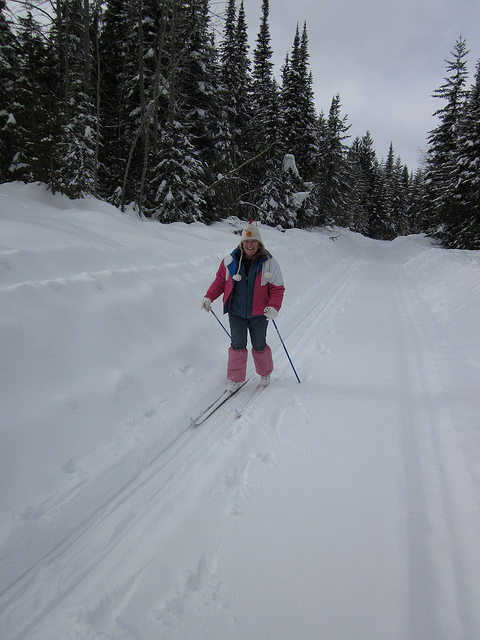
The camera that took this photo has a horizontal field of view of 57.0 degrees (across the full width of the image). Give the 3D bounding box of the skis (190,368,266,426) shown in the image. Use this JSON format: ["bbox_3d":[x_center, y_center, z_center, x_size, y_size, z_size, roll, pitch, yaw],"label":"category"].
[{"bbox_3d":[-0.116,0.779,4.249,0.237,0.094,1.008,7,16,20],"label":"skis"}]

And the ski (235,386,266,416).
[{"bbox_3d":[0.131,0.752,4.355,0.090,0.184,0.910,6,8,12],"label":"ski"}]

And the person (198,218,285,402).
[{"bbox_3d":[0.050,-0.107,4.400,0.814,1.655,0.777,9,13,21],"label":"person"}]
